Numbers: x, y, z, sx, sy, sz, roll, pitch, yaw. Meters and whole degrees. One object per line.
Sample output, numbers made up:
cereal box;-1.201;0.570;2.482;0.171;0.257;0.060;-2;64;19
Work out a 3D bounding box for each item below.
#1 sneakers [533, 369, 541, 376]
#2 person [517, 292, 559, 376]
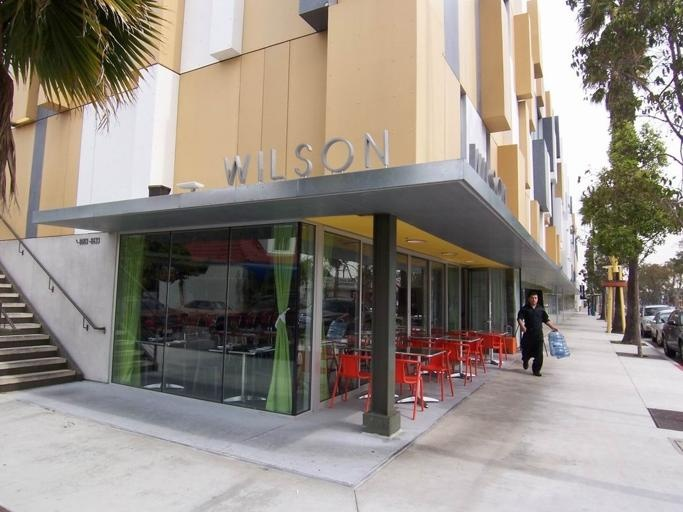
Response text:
sneakers;5.518;3.290;14.850;0.160;0.185;0.177;0;-3;14
person;5.450;2.235;15.004;0.839;2.386;1.274;3;4;22
